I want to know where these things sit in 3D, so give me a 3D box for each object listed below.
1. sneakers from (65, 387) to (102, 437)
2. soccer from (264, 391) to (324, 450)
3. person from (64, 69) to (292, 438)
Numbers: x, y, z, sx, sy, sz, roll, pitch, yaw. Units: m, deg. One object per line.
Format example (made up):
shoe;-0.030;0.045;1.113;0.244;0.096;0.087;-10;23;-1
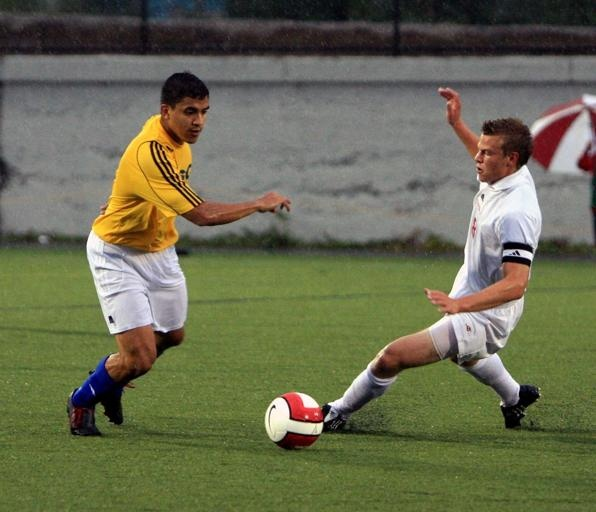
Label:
sneakers;-1.749;1.266;11.662;0.254;0.331;0.277;-4;13;-10
soccer;-0.039;1.300;11.402;0.432;0.408;0.442;4;0;-44
person;-1.200;-0.032;11.681;1.509;2.832;0.663;-4;14;-10
